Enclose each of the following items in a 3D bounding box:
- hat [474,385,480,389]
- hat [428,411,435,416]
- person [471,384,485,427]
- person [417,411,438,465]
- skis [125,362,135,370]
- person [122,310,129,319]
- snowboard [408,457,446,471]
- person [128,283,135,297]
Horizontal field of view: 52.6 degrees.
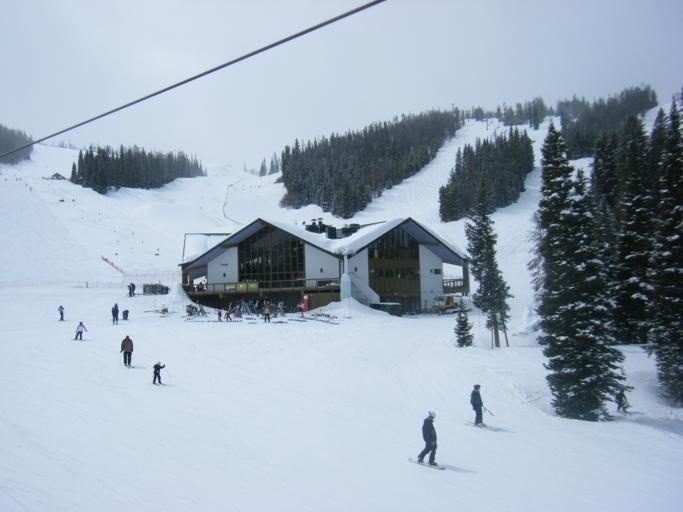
[{"bbox_3d":[6.885,6.701,35.351,0.394,0.179,0.407,0,-2,-15],"label":"hat"},{"bbox_3d":[4.113,7.225,31.640,0.316,0.184,0.473,1,-7,5],"label":"hat"},{"bbox_3d":[7.066,7.550,35.821,0.720,2.221,1.278,5,13,11],"label":"person"},{"bbox_3d":[4.063,8.274,32.204,0.827,2.656,1.248,4,13,10],"label":"person"},{"bbox_3d":[-12.654,6.593,41.335,0.248,0.214,0.606,8,5,-39],"label":"skis"},{"bbox_3d":[-18.101,4.903,57.924,0.658,0.774,0.587,-6,11,-38],"label":"person"},{"bbox_3d":[3.941,9.678,32.067,1.831,0.376,0.560,5,5,36],"label":"snowboard"},{"bbox_3d":[-21.593,3.460,71.171,0.531,1.302,0.992,-4,14,-26],"label":"person"}]
